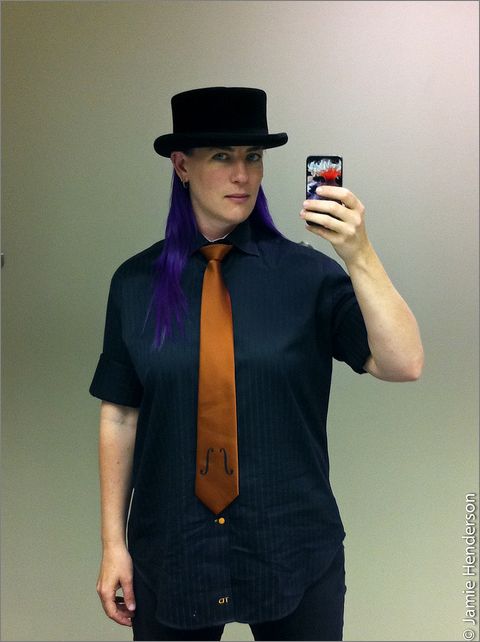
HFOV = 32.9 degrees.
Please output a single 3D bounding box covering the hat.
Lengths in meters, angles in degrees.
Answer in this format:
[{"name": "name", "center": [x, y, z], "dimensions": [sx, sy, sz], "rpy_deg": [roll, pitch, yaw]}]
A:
[{"name": "hat", "center": [-0.059, -0.409, 1.749], "dimensions": [0.231, 0.086, 0.184], "rpy_deg": [-4, 7, 0]}]
